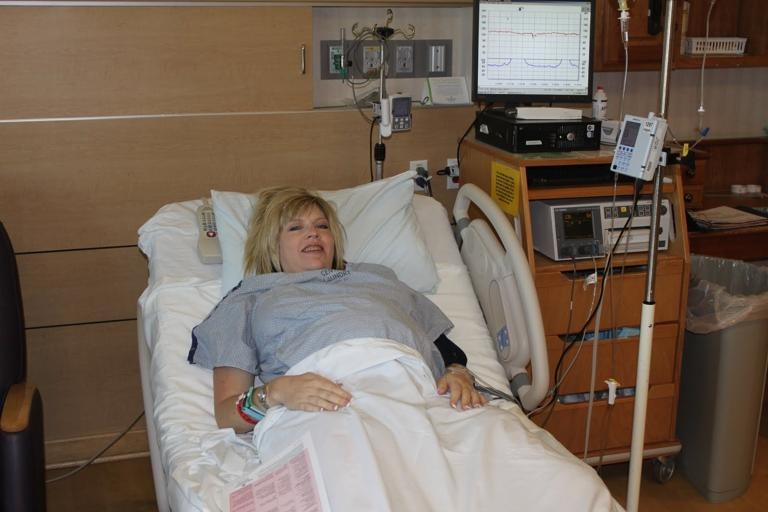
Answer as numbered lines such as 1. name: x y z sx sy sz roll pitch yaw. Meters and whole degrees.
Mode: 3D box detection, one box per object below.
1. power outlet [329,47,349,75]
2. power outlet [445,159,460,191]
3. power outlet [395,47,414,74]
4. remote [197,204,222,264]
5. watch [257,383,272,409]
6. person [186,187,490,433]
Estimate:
1. power outlet: -0.245 -0.979 3.150 0.100 0.118 0.027 1 6 14
2. power outlet: 0.354 -0.419 3.236 0.114 0.121 0.036 2 13 35
3. power outlet: 0.100 -1.014 3.223 0.111 0.167 0.083 -1 11 -4
4. remote: -0.771 -0.081 2.746 0.130 0.242 0.072 1 -30 -28
5. watch: -0.390 0.470 2.073 0.028 0.075 0.058 -2 -27 7
6. person: -0.187 0.185 2.268 1.017 0.749 0.733 4 16 21
